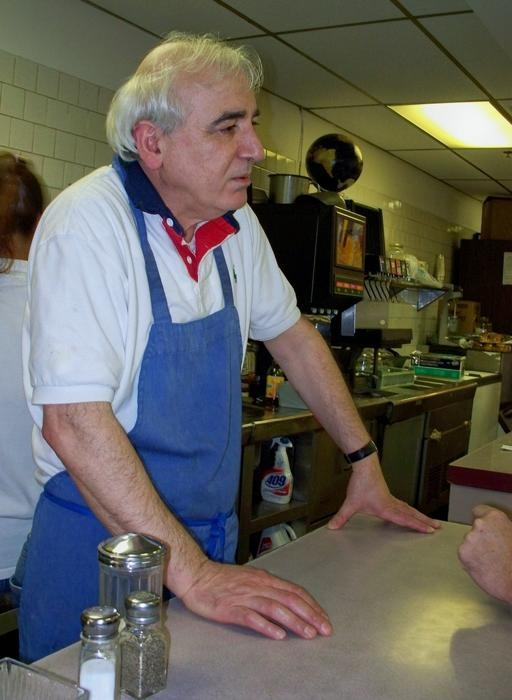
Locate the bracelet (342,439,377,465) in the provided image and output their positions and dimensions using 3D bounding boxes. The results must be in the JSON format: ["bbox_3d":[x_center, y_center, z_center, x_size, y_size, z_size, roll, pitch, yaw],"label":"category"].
[{"bbox_3d":[0.225,0.220,1.244,0.067,0.045,0.071,-20,-21,-6],"label":"bracelet"}]

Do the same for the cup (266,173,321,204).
[{"bbox_3d":[0.168,-0.815,2.979,0.195,0.132,0.181,0,-3,0],"label":"cup"}]
